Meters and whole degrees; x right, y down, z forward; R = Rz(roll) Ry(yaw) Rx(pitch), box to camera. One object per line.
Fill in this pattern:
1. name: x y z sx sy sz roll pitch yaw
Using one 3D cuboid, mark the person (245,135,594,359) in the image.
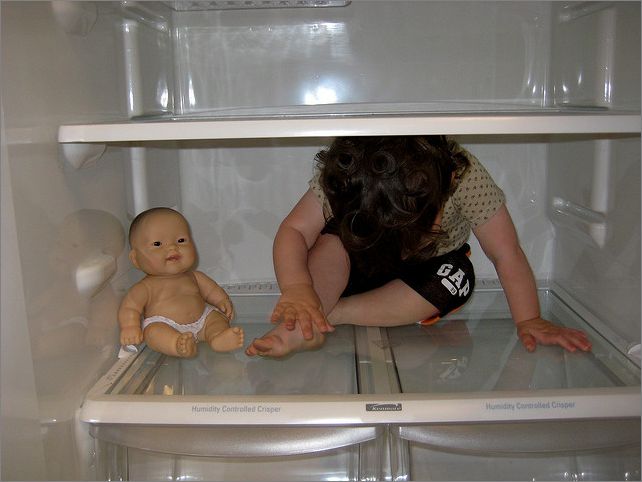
1. person: 0.199 -0.002 1.249 0.768 0.531 0.512 -8 -53 6
